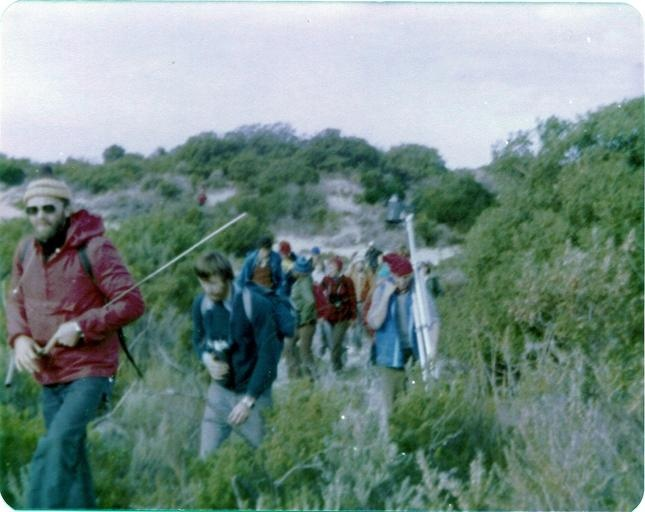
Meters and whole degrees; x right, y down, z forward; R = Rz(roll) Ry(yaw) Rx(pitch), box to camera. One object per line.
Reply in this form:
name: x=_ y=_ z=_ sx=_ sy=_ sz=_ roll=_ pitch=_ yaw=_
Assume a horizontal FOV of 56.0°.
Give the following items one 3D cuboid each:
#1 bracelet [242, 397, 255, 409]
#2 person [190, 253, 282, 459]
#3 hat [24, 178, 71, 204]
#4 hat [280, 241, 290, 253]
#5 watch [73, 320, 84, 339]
bracelet: x=-0.568 y=1.118 z=4.658 sx=0.083 sy=0.066 sz=0.083 roll=31 pitch=-7 yaw=-31
person: x=-0.757 y=1.106 z=4.823 sx=0.704 sy=2.219 sz=0.774 roll=-2 pitch=15 yaw=-10
hat: x=-2.096 y=-0.515 z=4.612 sx=0.236 sy=0.160 sz=0.215 roll=-4 pitch=14 yaw=-25
hat: x=-0.292 y=-0.072 z=4.650 sx=0.061 sy=0.094 sz=0.084 roll=7 pitch=10 yaw=25
watch: x=-1.823 y=0.551 z=4.517 sx=0.062 sy=0.110 sz=0.033 roll=8 pitch=13 yaw=20
